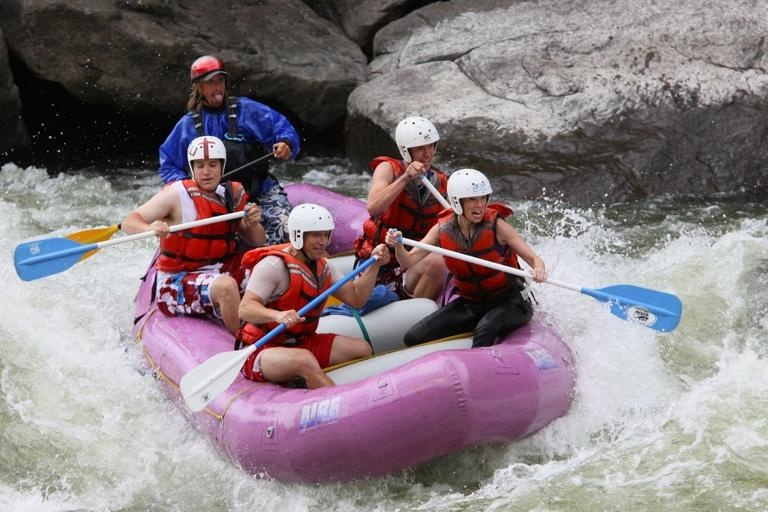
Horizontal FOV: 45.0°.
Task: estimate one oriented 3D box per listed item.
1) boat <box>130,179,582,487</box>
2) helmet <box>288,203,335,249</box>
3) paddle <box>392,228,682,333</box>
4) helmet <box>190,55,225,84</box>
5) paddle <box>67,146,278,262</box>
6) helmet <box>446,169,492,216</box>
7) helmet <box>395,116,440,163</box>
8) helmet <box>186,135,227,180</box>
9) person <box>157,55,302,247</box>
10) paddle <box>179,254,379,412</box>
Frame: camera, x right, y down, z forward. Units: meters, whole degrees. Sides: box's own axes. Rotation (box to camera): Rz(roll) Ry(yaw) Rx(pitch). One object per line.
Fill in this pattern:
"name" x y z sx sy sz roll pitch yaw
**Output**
"boat" -0.088 0.813 7.452 2.860 1.156 2.477 -18 52 -31
"helmet" -0.555 -0.234 7.168 0.396 0.325 0.317 5 11 25
"paddle" 1.216 0.237 7.743 2.667 0.145 0.428 15 81 7
"helmet" -1.606 -1.664 8.413 0.222 0.298 0.150 -15 88 -42
"paddle" -1.923 -0.446 8.490 2.263 0.255 0.327 -29 6 6
"helmet" 0.685 -0.519 7.378 0.300 0.330 0.398 -13 16 -30
"helmet" 0.304 -1.014 7.878 0.337 0.351 0.417 -25 33 -22
"helmet" -1.493 -0.830 7.798 0.316 0.387 0.372 -5 87 -5
"person" -1.409 -0.724 8.619 1.207 2.140 1.085 -15 14 -17
"paddle" -0.822 0.634 7.179 2.131 0.315 0.110 -33 11 -8
